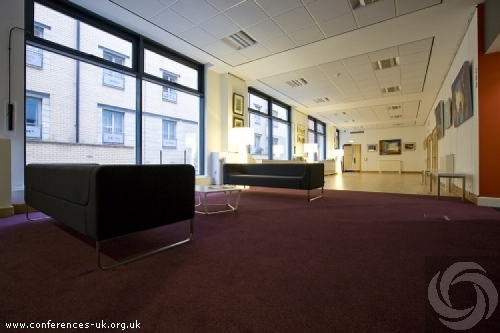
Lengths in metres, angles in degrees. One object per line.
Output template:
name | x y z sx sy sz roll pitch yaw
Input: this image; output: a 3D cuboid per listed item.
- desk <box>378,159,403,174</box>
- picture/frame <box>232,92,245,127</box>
desk | 7.923 0.082 17.715 1.349 0.937 0.702 -2 -4 38
picture/frame | -0.333 -1.722 9.592 0.172 1.045 0.676 1 2 20
